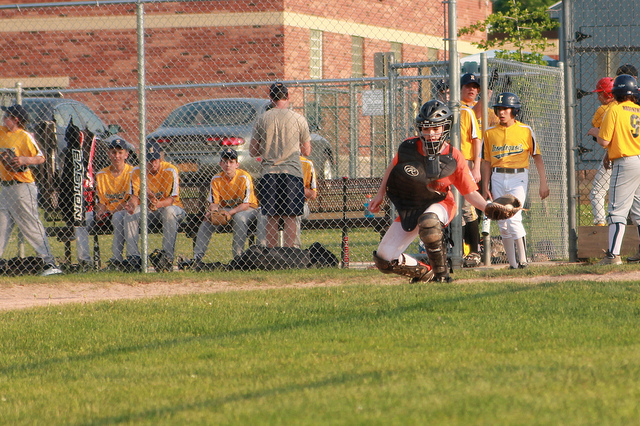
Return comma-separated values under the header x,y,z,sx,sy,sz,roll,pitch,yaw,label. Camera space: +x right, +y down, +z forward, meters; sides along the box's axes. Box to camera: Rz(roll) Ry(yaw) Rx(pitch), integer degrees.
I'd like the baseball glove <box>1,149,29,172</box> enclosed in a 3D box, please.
x,y,z,sx,sy,sz,roll,pitch,yaw,label
-4.602,-0.765,17.962,0.277,0.377,0.138,-33,11,24,baseball glove

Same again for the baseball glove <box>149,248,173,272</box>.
x,y,z,sx,sy,sz,roll,pitch,yaw,label
-2.417,0.723,17.965,0.222,0.390,0.095,-41,-11,15,baseball glove

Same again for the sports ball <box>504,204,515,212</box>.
x,y,z,sx,sy,sz,roll,pitch,yaw,label
2.485,-0.062,15.900,0.168,0.086,0.086,-10,16,-26,sports ball

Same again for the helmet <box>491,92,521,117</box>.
x,y,z,sx,sy,sz,roll,pitch,yaw,label
2.747,-1.590,17.672,0.301,0.311,0.393,-4,-9,44,helmet

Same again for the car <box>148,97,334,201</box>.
x,y,z,sx,sy,sz,roll,pitch,yaw,label
-1.585,-1.205,21.415,1.626,1.167,3.595,0,3,25,car

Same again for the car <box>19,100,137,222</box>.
x,y,z,sx,sy,sz,roll,pitch,yaw,label
-4.299,-1.025,20.184,1.478,1.396,2.920,0,7,17,car

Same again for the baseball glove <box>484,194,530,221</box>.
x,y,z,sx,sy,sz,roll,pitch,yaw,label
2.433,-0.101,15.959,0.274,0.238,0.447,18,35,36,baseball glove

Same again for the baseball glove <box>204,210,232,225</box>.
x,y,z,sx,sy,sz,roll,pitch,yaw,label
-1.546,0.078,18.010,0.267,0.110,0.234,-8,12,3,baseball glove

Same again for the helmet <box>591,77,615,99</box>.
x,y,z,sx,sy,sz,roll,pitch,yaw,label
4.260,-1.875,18.074,0.358,0.206,0.256,5,3,18,helmet

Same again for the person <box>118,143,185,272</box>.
x,y,z,sx,sy,sz,roll,pitch,yaw,label
-2.603,-0.063,18.203,0.997,1.720,1.232,-3,15,-1,person

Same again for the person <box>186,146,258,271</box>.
x,y,z,sx,sy,sz,roll,pitch,yaw,label
-1.463,-0.099,18.105,0.732,1.577,1.033,5,17,27,person

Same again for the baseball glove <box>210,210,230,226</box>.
x,y,z,sx,sy,sz,roll,pitch,yaw,label
-1.513,0.064,18.076,0.266,0.200,0.258,-14,0,2,baseball glove

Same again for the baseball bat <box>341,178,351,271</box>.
x,y,z,sx,sy,sz,roll,pitch,yaw,label
0.319,0.157,18.036,0.139,1.434,0.126,-5,-1,11,baseball bat

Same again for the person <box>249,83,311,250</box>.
x,y,z,sx,sy,sz,roll,pitch,yaw,label
-0.637,-0.568,18.132,0.967,2.681,0.900,-2,8,-17,person

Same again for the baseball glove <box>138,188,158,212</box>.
x,y,z,sx,sy,sz,roll,pitch,yaw,label
-2.559,-0.188,18.153,0.112,0.347,0.254,-29,-13,-46,baseball glove

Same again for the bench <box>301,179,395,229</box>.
x,y,z,sx,sy,sz,roll,pitch,yaw,label
0.324,-0.049,18.566,1.382,0.807,0.585,-3,17,18,bench
